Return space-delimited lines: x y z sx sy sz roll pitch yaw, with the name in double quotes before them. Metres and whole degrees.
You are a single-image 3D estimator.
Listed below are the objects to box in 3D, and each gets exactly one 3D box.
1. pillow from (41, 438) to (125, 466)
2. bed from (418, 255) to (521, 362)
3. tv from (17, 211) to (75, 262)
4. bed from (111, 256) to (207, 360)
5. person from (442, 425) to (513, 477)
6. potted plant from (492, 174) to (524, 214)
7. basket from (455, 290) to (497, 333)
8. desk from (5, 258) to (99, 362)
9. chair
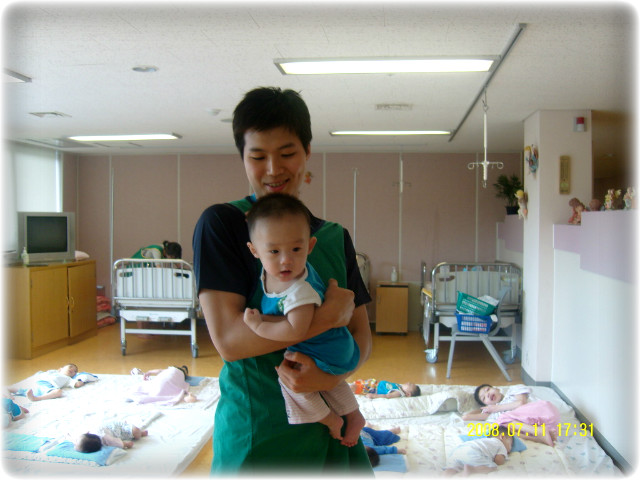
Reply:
"pillow" -1.985 1.794 4.073 0.343 0.058 0.254 1 1 13
"bed" 2.051 0.861 6.815 1.056 1.056 1.573 0 3 7
"tv" -4.049 -0.037 7.182 0.382 0.700 0.719 3 6 35
"bed" -2.158 0.857 7.763 1.364 1.525 2.332 1 6 -7
"person" 1.366 1.801 4.109 0.755 0.173 0.327 -3 6 -35
"potted plant" 2.923 -0.710 7.625 0.399 0.630 0.940 2 5 19
"basket" 1.856 0.920 6.018 0.529 0.515 0.391 4 -5 9
"desk" -3.865 1.011 6.950 0.593 1.112 1.347 -2 0 12
"chair" 1.751 1.150 6.136 0.980 1.346 0.848 0 -2 11
